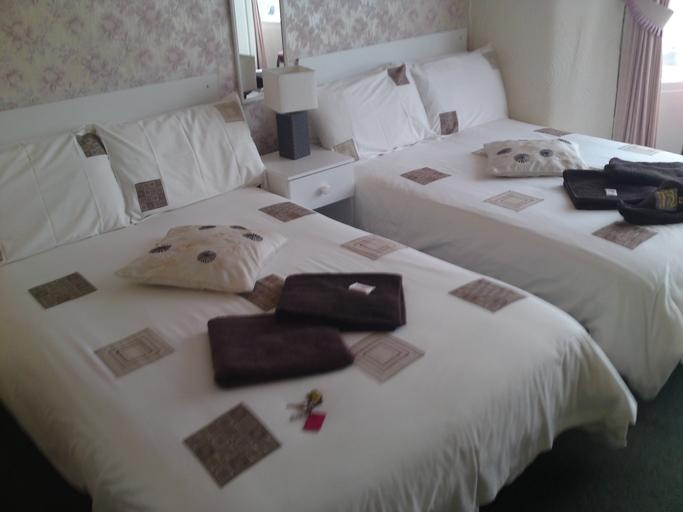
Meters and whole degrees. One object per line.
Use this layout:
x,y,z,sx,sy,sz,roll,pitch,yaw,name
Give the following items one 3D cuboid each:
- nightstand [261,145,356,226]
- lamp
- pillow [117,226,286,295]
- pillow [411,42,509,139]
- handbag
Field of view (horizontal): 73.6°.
-0.204,-0.337,2.999,0.426,0.569,0.565,28,40,33,nightstand
-0.317,-0.897,2.798,0.287,0.597,0.290,-27,44,-29,lamp
-0.563,0.013,1.872,0.358,0.110,0.389,12,30,20,pillow
0.865,-1.207,3.667,0.808,0.711,0.197,-18,-4,-32,pillow
1.367,-0.361,2.407,0.280,0.095,0.298,11,34,25,handbag
